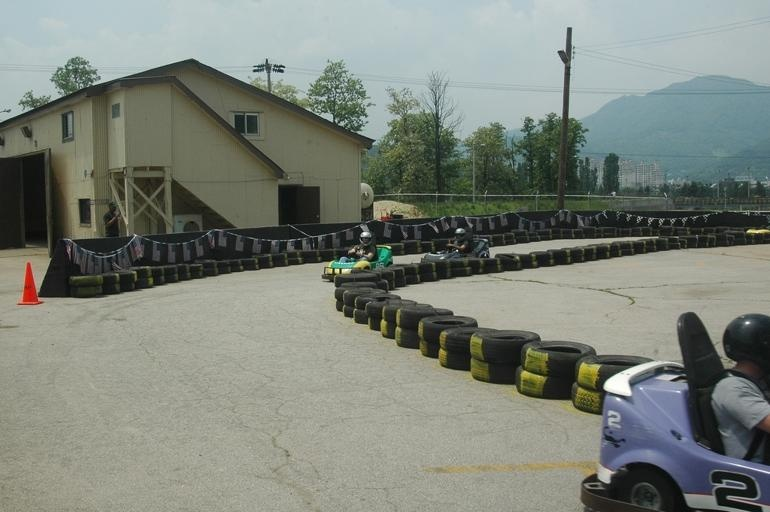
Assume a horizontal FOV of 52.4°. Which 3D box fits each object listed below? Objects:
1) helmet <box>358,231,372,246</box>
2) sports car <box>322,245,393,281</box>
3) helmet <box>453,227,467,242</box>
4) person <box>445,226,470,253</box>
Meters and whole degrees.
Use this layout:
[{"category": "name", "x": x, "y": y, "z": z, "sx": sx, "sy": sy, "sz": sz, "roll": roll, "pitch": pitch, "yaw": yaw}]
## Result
[{"category": "helmet", "x": -0.581, "y": -0.529, "z": 22.053, "sx": 0.334, "sy": 0.390, "sz": 0.398, "roll": -3, "pitch": -8, "yaw": 15}, {"category": "sports car", "x": -0.727, "y": 0.162, "z": 21.864, "sx": 1.288, "sy": 0.835, "sz": 2.199, "roll": 2, "pitch": 7, "yaw": 36}, {"category": "helmet", "x": 2.279, "y": -0.677, "z": 23.362, "sx": 0.329, "sy": 0.331, "sz": 0.425, "roll": 0, "pitch": 12, "yaw": -2}, {"category": "person", "x": 2.153, "y": -0.535, "z": 23.628, "sx": 0.710, "sy": 1.032, "sz": 0.788, "roll": -3, "pitch": 3, "yaw": -38}]
